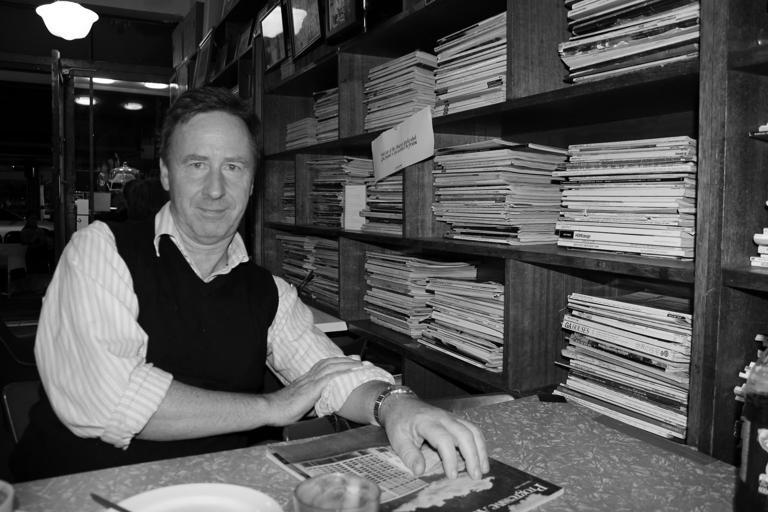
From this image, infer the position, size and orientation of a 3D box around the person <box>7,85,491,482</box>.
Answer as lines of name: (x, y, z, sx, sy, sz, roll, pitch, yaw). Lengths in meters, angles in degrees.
person: (-0.429, 0.233, 1.837, 1.543, 1.296, 0.885, 15, 15, 13)
